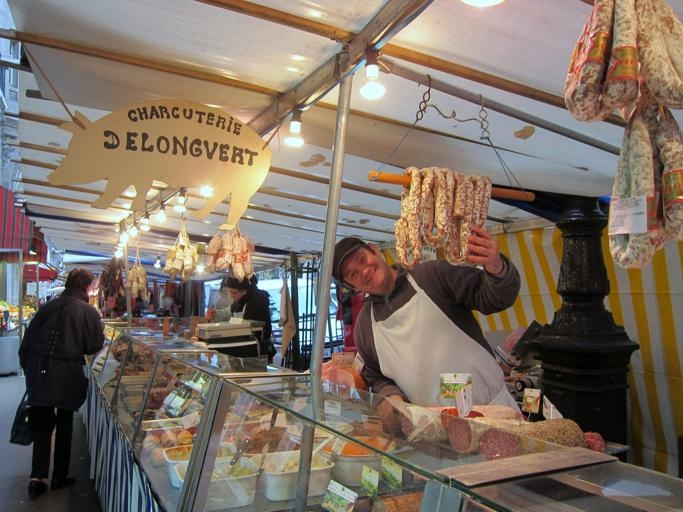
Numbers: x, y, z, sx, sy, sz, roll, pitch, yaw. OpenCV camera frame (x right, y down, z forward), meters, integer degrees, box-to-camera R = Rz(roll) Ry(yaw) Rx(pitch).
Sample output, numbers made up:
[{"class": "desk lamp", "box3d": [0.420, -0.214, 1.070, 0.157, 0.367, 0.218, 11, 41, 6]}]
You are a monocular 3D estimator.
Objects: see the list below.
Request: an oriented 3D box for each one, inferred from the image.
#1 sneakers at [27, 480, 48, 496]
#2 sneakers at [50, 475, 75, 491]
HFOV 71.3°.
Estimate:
[{"class": "sneakers", "box3d": [-2.585, 1.969, 4.068, 0.083, 0.087, 0.203, 1, -5, -6]}, {"class": "sneakers", "box3d": [-2.447, 1.984, 4.197, 0.072, 0.079, 0.214, 1, -1, 26]}]
